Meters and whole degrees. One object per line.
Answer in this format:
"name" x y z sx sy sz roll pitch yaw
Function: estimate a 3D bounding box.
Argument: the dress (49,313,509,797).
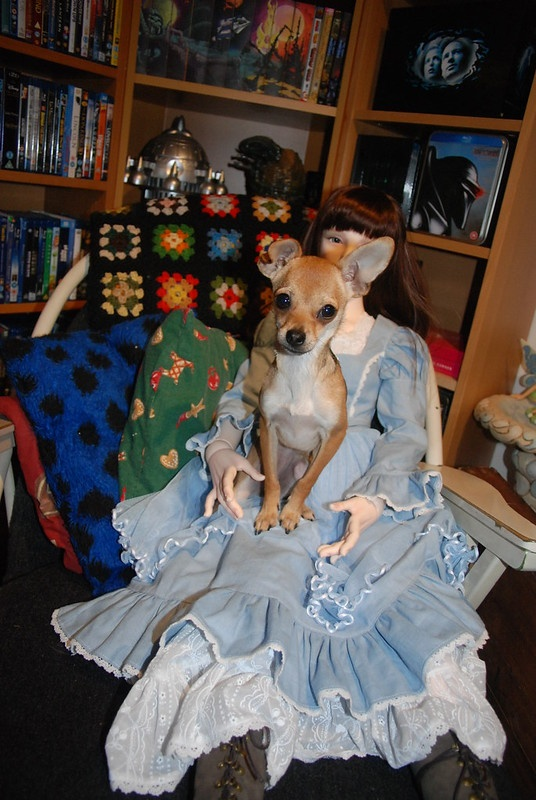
"dress" 0.026 0.225 1.058 0.815 0.511 0.816 -1 29 -18

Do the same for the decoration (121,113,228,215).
"decoration" -0.300 -0.768 1.849 0.329 0.285 0.333 7 15 -8

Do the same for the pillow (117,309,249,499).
"pillow" -0.176 0.028 1.276 0.279 0.152 0.454 8 58 22

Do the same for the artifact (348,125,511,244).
"artifact" 0.540 -0.624 1.848 0.102 0.443 0.440 -7 23 -43
